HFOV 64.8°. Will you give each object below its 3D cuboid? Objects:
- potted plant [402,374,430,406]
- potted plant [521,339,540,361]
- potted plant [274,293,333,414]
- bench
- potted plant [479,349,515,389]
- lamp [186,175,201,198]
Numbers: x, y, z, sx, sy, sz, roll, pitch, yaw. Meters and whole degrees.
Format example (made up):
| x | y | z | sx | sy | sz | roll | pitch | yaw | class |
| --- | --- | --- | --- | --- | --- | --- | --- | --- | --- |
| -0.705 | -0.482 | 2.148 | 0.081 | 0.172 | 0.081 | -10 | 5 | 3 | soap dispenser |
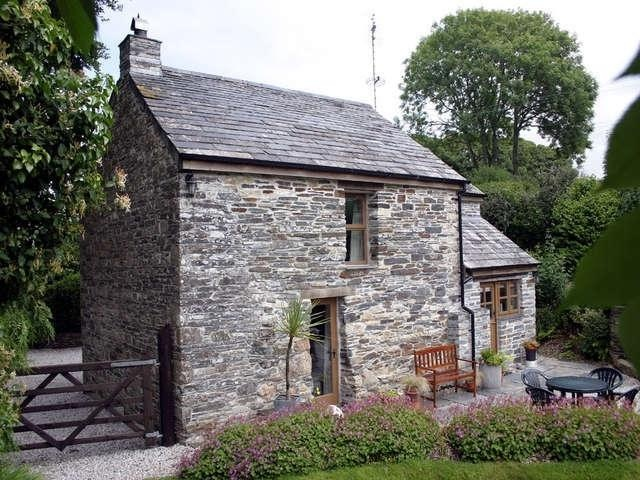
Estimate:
| x | y | z | sx | sy | sz | roll | pitch | yaw | class |
| --- | --- | --- | --- | --- | --- | --- | --- | --- | --- |
| 1.837 | 2.839 | 9.550 | 0.594 | 0.628 | 0.607 | 0 | -1 | 21 | potted plant |
| 5.185 | 2.676 | 12.322 | 0.418 | 0.469 | 0.416 | 2 | -3 | -24 | potted plant |
| -0.407 | 1.789 | 8.135 | 0.674 | 1.711 | 0.710 | -1 | -5 | -4 | potted plant |
| 2.506 | 2.643 | 9.976 | 1.414 | 1.008 | 0.591 | 3 | -4 | -43 | bench |
| 3.756 | 2.720 | 10.919 | 0.807 | 0.889 | 0.874 | 0 | -7 | 4 | potted plant |
| -1.926 | -0.823 | 7.563 | 0.189 | 0.347 | 0.082 | 0 | -5 | -12 | lamp |
